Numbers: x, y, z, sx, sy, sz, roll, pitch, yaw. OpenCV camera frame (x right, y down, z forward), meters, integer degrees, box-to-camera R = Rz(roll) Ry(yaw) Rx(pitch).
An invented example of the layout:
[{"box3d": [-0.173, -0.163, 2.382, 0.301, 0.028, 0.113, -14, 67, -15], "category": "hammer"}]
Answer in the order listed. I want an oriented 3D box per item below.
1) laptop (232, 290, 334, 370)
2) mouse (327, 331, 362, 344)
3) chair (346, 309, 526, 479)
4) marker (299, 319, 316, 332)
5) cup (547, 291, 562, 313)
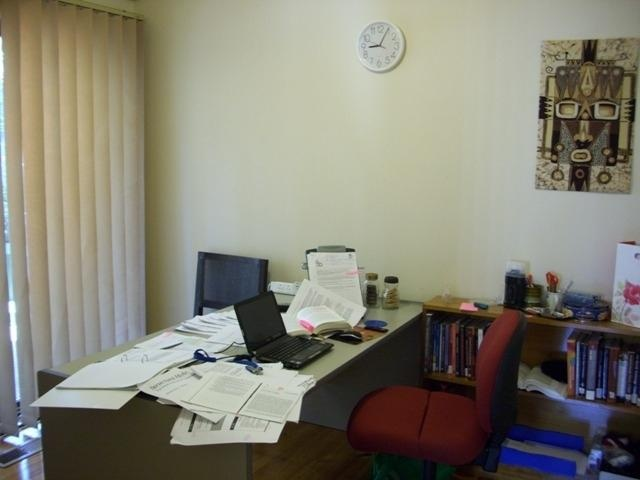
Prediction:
[{"box3d": [-0.191, 0.464, 2.434, 0.260, 0.389, 0.361, -22, -11, 35], "category": "laptop"}, {"box3d": [0.139, 0.519, 2.628, 0.102, 0.029, 0.076, 3, 6, 33], "category": "mouse"}, {"box3d": [0.630, 0.688, 2.726, 0.827, 1.064, 0.764, 3, 4, 20], "category": "chair"}, {"box3d": [-0.073, 0.468, 2.686, 0.057, 0.022, 0.058, 35, 1, 19], "category": "marker"}, {"box3d": [1.363, 0.363, 2.884, 0.072, 0.091, 0.104, 2, 10, 12], "category": "cup"}]
